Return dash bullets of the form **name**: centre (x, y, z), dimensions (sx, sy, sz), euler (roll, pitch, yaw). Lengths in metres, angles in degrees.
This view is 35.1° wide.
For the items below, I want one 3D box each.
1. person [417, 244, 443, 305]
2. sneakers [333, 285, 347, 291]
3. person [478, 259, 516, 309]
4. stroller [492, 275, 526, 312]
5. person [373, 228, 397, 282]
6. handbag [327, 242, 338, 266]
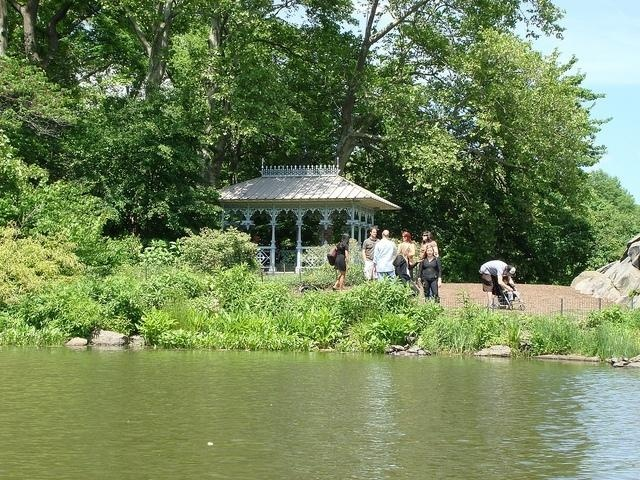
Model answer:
- **person**: centre (3.145, 0.933, 28.981), dimensions (0.487, 1.546, 0.825), euler (-3, 12, -26)
- **sneakers**: centre (0.535, 1.554, 32.681), dimensions (0.226, 0.164, 0.535), euler (-3, -2, -13)
- **person**: centre (5.321, 1.253, 30.439), dimensions (1.151, 1.275, 0.805), euler (3, 9, 29)
- **stroller**: centre (5.603, 1.645, 30.736), dimensions (1.111, 1.479, 1.126), euler (-4, 2, 11)
- **person**: centre (1.843, 0.457, 29.219), dimensions (0.674, 1.482, 1.800), euler (3, 11, 4)
- **handbag**: centre (0.358, 0.498, 34.716), dimensions (0.338, 0.561, 0.774), euler (0, 15, 14)
